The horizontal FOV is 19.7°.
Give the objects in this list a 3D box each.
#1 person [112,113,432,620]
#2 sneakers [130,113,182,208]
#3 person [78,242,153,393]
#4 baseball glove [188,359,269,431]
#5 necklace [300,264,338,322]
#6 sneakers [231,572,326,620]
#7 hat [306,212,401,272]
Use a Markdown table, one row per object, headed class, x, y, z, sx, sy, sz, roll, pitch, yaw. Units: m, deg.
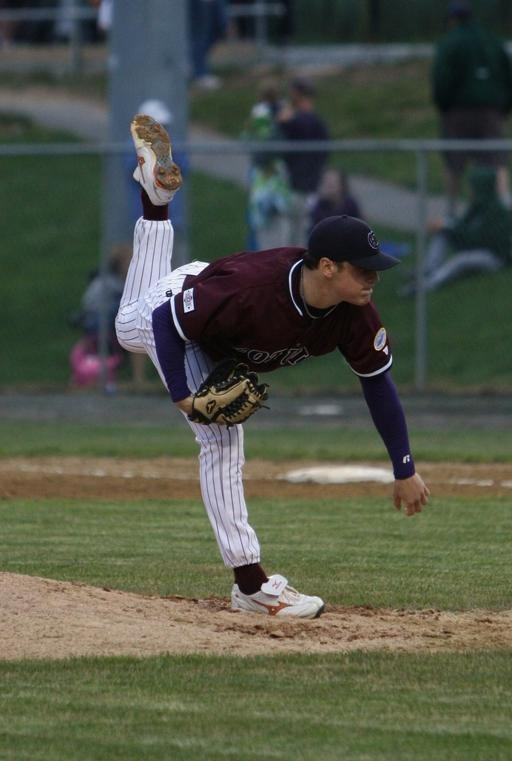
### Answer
| class | x | y | z | sx | sy | sz | roll | pitch | yaw |
| --- | --- | --- | --- | --- | --- | --- | --- | --- | --- |
| person | -0.050 | 0.033 | 4.699 | 1.077 | 1.416 | 0.665 | 12 | 14 | 41 |
| sneakers | -0.344 | -0.764 | 5.119 | 0.137 | 0.128 | 0.390 | 10 | 31 | -26 |
| person | -0.909 | -0.389 | 9.054 | 0.313 | 0.864 | 0.406 | 12 | 6 | 3 |
| baseball glove | -0.079 | 0.049 | 4.486 | 0.230 | 0.177 | 0.112 | -43 | 40 | -11 |
| necklace | 0.188 | -0.276 | 4.330 | 0.131 | 0.172 | 0.089 | 3 | 11 | 1 |
| sneakers | 0.070 | 0.709 | 4.767 | 0.311 | 0.129 | 0.118 | 2 | -1 | -1 |
| hat | 0.298 | -0.415 | 4.359 | 0.281 | 0.135 | 0.188 | 13 | 22 | 32 |
